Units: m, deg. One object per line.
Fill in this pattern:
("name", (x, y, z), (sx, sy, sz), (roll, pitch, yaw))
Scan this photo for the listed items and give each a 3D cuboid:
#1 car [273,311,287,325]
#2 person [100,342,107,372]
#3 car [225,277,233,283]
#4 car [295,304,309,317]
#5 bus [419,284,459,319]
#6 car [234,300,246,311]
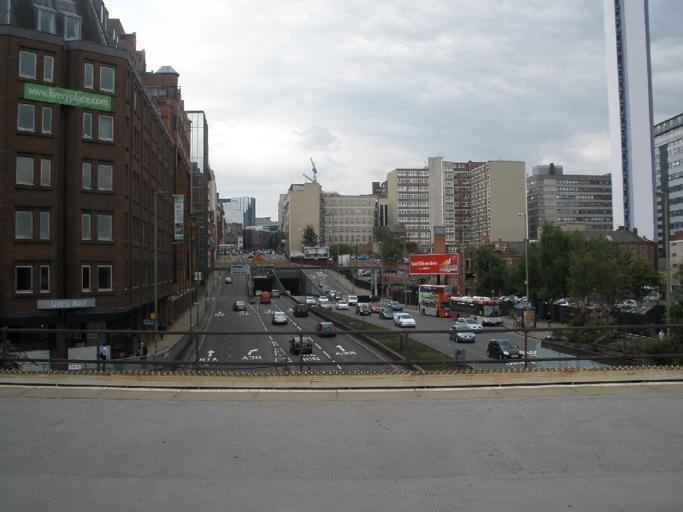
("car", (-6.270, 6.299, 72.939), (1.418, 0.927, 2.450), (-2, 11, -8))
("person", (-7.692, 3.214, 23.617), (0.246, 0.696, 1.097), (-4, 11, -18))
("car", (-24.084, 5.027, 154.698), (1.079, 0.937, 2.633), (1, -3, -8))
("car", (-4.824, 6.342, 84.893), (1.549, 1.187, 2.626), (-1, 11, -2))
("bus", (11.851, 5.472, 92.836), (2.149, 4.069, 8.350), (1, -1, -17))
("car", (-13.253, 6.497, 94.724), (1.384, 1.140, 3.103), (-1, 11, -5))
